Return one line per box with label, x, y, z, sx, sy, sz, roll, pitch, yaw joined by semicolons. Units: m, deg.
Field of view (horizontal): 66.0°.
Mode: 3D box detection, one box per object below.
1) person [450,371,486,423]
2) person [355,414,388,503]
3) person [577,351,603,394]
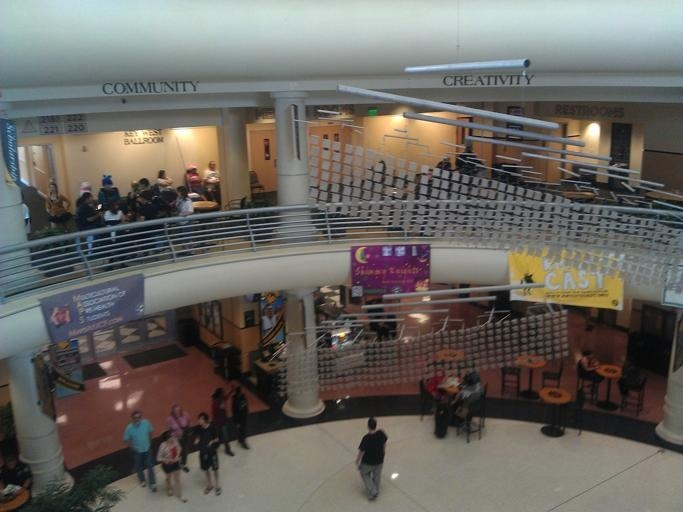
person;2.809;3.263;12.003;0.683;1.355;0.405;0;16;9
person;0.570;3.802;10.179;0.575;1.809;0.664;-2;15;2
person;6.224;2.881;13.180;0.612;0.965;0.513;1;-2;27
